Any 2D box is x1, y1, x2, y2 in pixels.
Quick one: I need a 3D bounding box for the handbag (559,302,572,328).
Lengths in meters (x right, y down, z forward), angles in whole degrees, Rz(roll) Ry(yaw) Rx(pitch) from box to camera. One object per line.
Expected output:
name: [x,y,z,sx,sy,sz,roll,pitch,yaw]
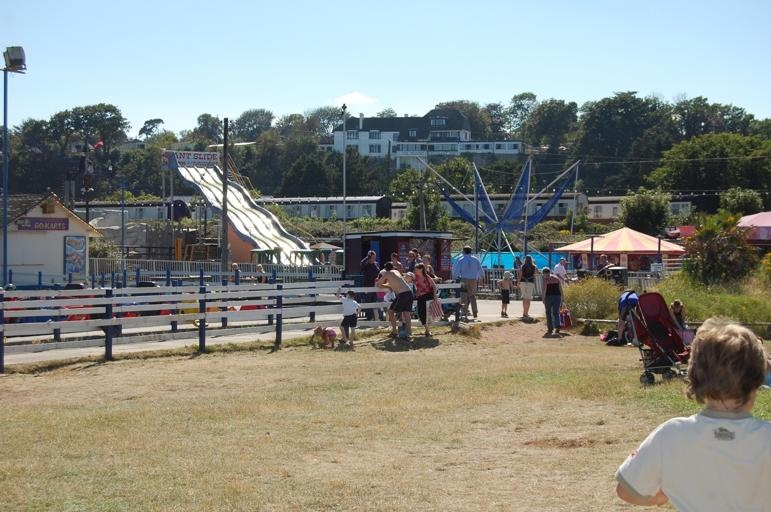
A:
handbag: [8.121,2.785,61.700,0.433,1.076,1.018,-2,-4,4]
